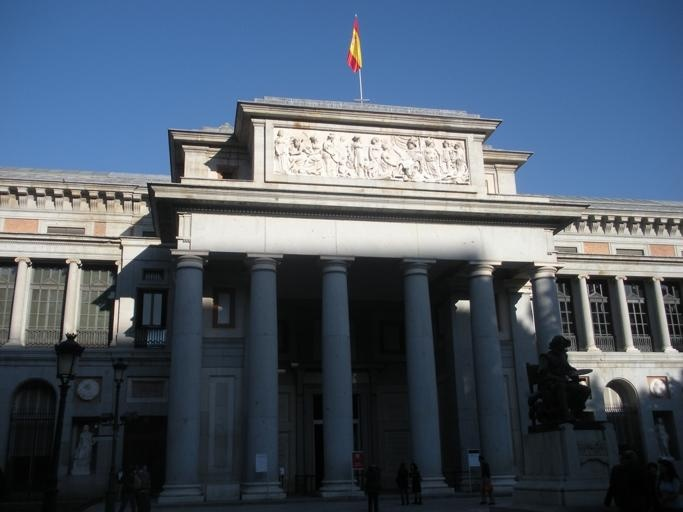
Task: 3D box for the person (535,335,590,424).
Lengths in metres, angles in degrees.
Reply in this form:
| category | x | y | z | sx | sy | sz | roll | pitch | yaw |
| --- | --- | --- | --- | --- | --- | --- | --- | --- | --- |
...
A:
| category | x | y | z | sx | sy | sz | roll | pitch | yaw |
| --- | --- | --- | --- | --- | --- | --- | --- | --- | --- |
| person | 6.734 | 3.888 | 19.861 | 1.538 | 2.792 | 0.863 | -6 | -15 | 14 |

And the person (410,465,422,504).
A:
| category | x | y | z | sx | sy | sz | roll | pitch | yaw |
| --- | --- | --- | --- | --- | --- | --- | --- | --- | --- |
| person | 3.123 | 9.513 | 26.673 | 0.417 | 1.545 | 1.147 | -3 | -15 | 3 |
